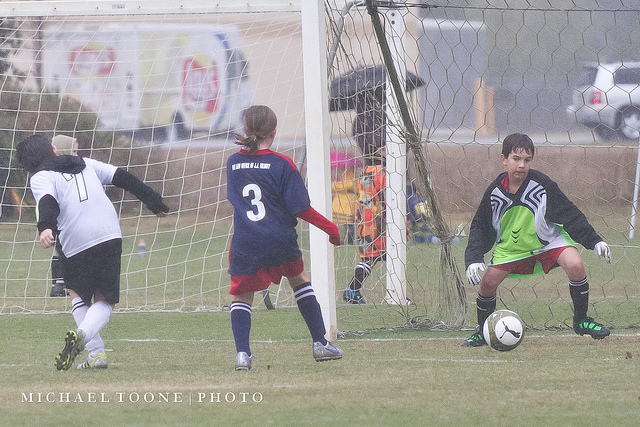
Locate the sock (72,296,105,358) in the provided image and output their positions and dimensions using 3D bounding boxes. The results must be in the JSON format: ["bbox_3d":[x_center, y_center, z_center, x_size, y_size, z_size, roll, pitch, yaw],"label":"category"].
[{"bbox_3d":[-2.360,1.102,11.628,0.340,0.290,1.021,3,-23,-11],"label":"sock"}]

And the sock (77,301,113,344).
[{"bbox_3d":[-2.258,1.051,11.318,0.214,0.227,0.491,-49,7,43],"label":"sock"}]

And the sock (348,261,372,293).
[{"bbox_3d":[0.477,0.746,13.220,0.335,0.377,0.152,0,3,34],"label":"sock"}]

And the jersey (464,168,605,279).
[{"bbox_3d":[2.216,0.029,11.783,1.354,1.022,0.344,-2,2,4],"label":"jersey"}]

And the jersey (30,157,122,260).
[{"bbox_3d":[-2.493,-0.060,11.310,0.860,1.011,0.330,-2,2,-10],"label":"jersey"}]

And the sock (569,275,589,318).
[{"bbox_3d":[2.751,0.872,11.770,0.187,0.421,0.152,-1,2,11],"label":"sock"}]

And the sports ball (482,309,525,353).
[{"bbox_3d":[1.905,1.202,11.509,0.387,0.409,0.576,-1,-1,4],"label":"sports ball"}]

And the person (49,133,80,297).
[{"bbox_3d":[-3.336,-0.063,13.620,0.517,2.133,0.905,-1,18,-17],"label":"person"}]
